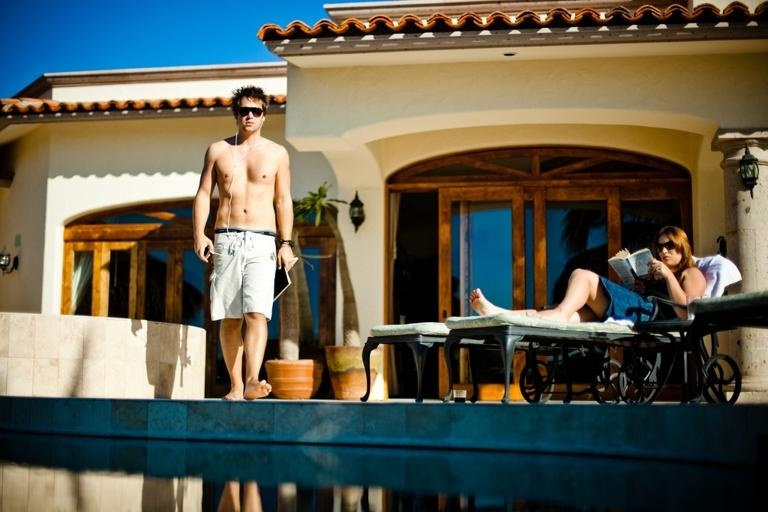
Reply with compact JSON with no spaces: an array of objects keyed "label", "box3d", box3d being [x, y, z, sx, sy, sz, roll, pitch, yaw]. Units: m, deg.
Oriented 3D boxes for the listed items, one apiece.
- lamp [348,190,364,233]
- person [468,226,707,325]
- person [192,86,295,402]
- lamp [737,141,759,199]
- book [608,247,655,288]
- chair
[{"label":"lamp","box3d":[-0.345,-0.527,14.951,0.161,0.479,0.188,-2,0,41]},{"label":"person","box3d":[2.185,0.285,11.909,2.224,1.174,0.926,3,-10,-5]},{"label":"person","box3d":[-1.440,-0.113,11.878,1.042,3.253,0.621,1,-11,-6]},{"label":"lamp","box3d":[4.208,-0.938,13.268,0.228,0.579,0.120,-2,-11,6]},{"label":"book","box3d":[2.530,0.183,11.600,0.373,0.140,0.373,8,-44,47]},{"label":"chair","box3d":[2.147,0.826,11.979,2.672,1.700,1.423,0,-9,0]}]
